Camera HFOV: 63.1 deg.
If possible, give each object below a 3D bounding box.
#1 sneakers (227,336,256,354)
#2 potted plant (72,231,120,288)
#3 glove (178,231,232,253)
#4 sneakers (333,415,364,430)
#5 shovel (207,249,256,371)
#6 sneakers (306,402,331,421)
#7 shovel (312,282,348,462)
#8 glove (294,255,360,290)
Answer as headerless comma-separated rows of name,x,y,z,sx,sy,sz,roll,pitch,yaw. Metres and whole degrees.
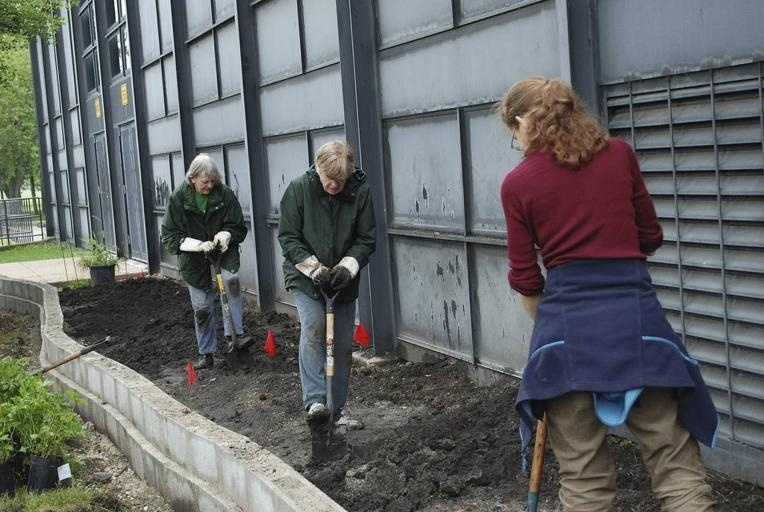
sneakers,-1.659,1.043,7.317,0.286,0.227,0.104,-23,-15,7
potted plant,-6.044,0.201,13.485,0.649,0.932,0.821,-10,-5,-30
glove,-2.015,-0.133,7.143,0.302,0.128,0.316,-8,16,1
sneakers,-0.287,1.438,5.370,0.145,0.074,0.206,0,-2,27
shovel,-1.747,0.628,7.304,0.415,0.870,0.366,-5,3,-16
sneakers,-0.484,1.202,4.845,0.131,0.089,0.213,-4,-13,-3
shovel,-0.391,0.838,4.748,0.306,1.557,0.110,5,17,12
glove,-0.410,0.099,5.036,0.387,0.175,0.276,-3,39,-14
